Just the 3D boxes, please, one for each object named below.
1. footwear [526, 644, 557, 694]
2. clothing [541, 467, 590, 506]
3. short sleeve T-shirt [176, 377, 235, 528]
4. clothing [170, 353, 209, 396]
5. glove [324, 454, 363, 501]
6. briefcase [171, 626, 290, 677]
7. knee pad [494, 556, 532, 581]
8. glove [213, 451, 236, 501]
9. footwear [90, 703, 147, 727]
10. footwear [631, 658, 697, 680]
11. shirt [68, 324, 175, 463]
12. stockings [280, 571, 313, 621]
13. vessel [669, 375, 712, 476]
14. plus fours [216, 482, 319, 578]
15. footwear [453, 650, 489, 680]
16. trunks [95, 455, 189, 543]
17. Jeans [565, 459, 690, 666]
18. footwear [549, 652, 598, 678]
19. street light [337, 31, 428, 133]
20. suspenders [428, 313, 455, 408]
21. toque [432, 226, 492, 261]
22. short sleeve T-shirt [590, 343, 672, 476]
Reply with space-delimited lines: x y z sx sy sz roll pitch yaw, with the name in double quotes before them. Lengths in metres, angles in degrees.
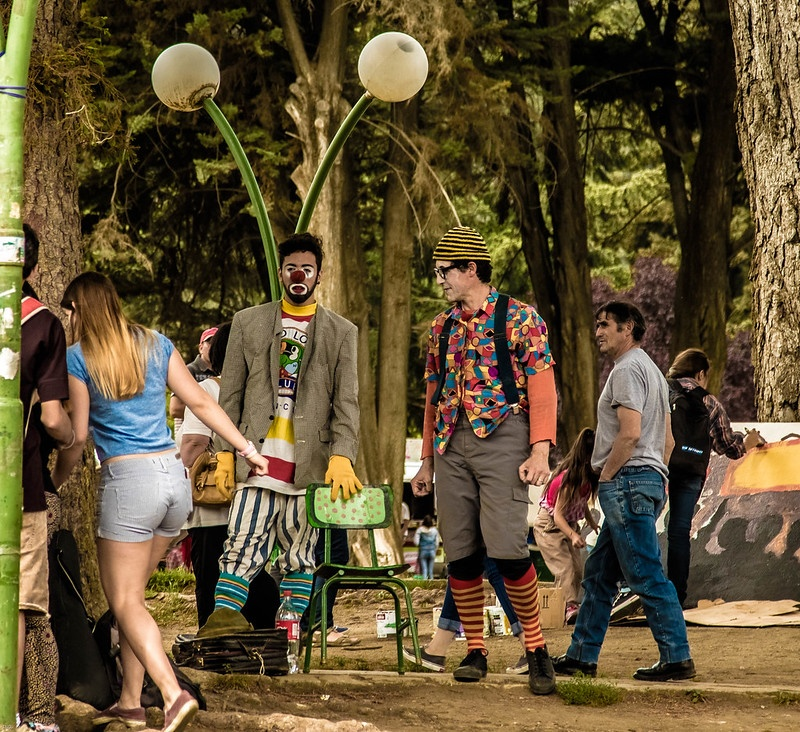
"footwear" 0.951 2.054 12.445 0.190 0.314 0.234 -2 -4 4
"clothing" 1.303 0.940 14.397 0.372 0.302 0.212 -25 -16 35
"short sleeve T-shirt" -1.317 0.624 12.486 0.455 0.984 0.647 6 -25 -7
"clothing" -1.615 0.058 14.149 0.310 0.351 0.185 2 -20 -11
"glove" -0.403 0.766 12.510 0.273 0.405 0.213 -3 -31 0
"briefcase" -1.137 1.948 12.469 0.487 0.241 0.419 4 -7 -22
"knee pad" 0.768 1.368 12.484 0.176 0.204 0.183 -7 16 -31
"glove" -1.187 0.747 12.444 0.132 0.347 0.276 1 -13 -12
"footwear" -1.743 2.184 11.426 0.287 0.139 0.137 6 -10 8
"footwear" 1.835 2.135 12.864 0.413 0.223 0.172 -1 -11 19
"shirt" -1.744 0.174 11.401 0.593 0.615 0.315 -18 0 -28
"stockings" -0.703 1.580 12.612 0.268 0.462 0.230 -1 -4 3
"vessel" 2.318 0.491 14.799 0.359 0.768 0.485 17 -25 -31
"plus fours" -0.891 1.099 12.489 0.445 0.695 0.206 19 -28 -30
"footwear" 0.479 2.050 12.642 0.243 0.211 0.264 -2 -4 -5
"trunks" -1.573 0.824 11.547 0.441 0.646 0.618 3 -2 45
"Jeans" 1.593 1.390 12.936 0.813 1.366 0.296 -4 -4 24
"footwear" 1.207 2.109 12.956 0.344 0.165 0.134 8 -7 22
"street light" -0.183 -2.429 15.419 0.768 0.333 0.353 -35 -41 12
"suspenders" 0.293 -0.020 12.829 0.095 0.507 0.290 5 7 8
"toque" 0.443 -0.816 12.760 0.261 0.192 0.270 1 0 41
"short sleeve T-shirt" 1.612 0.456 13.302 0.621 1.211 1.045 0 -4 15
